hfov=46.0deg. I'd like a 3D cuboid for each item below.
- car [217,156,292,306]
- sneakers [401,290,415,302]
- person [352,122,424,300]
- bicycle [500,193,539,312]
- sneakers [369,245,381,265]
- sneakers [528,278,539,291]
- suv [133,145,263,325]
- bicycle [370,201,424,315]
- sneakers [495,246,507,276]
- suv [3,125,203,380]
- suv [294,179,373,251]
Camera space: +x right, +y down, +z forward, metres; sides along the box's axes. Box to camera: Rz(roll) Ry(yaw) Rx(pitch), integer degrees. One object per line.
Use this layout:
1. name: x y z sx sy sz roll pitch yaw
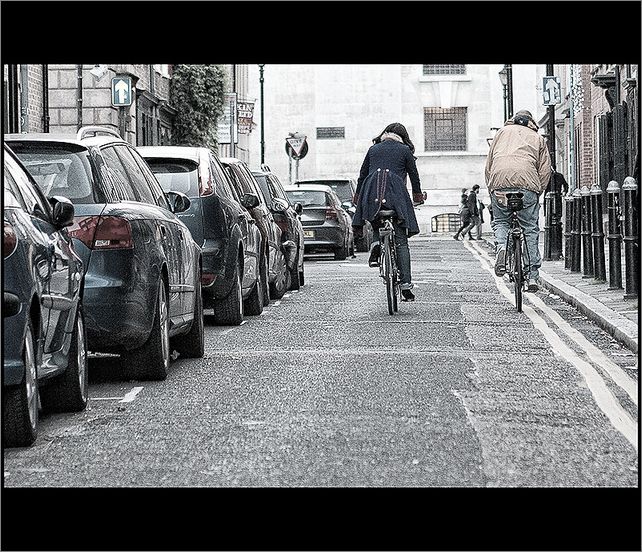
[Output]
1. car: -1.204 -0.763 13.118 0.996 1.335 2.240 0 6 8
2. sneakers: 1.335 0.292 11.741 0.133 0.168 0.203 0 1 -6
3. person: 1.076 -1.070 11.808 0.991 3.341 1.120 3 -22 -2
4. bicycle: 2.977 -0.388 11.468 0.451 1.808 0.846 0 3 1
5. sneakers: 0.821 -0.317 11.610 0.104 0.183 0.349 3 18 5
6. sneakers: 3.233 0.133 11.509 0.132 0.217 0.371 1 4 19
7. suv: -1.600 -0.733 10.576 1.040 1.477 2.929 0 6 5
8. bicycle: 1.073 -0.317 11.570 0.494 1.710 1.058 0 3 5
9. sneakers: 2.748 -0.231 11.640 0.122 0.209 0.449 2 24 5
10. suv: -1.866 -0.274 6.388 1.048 1.461 2.953 1 5 6
11. suv: 0.960 -3.147 33.666 1.753 2.253 4.508 0 5 10
